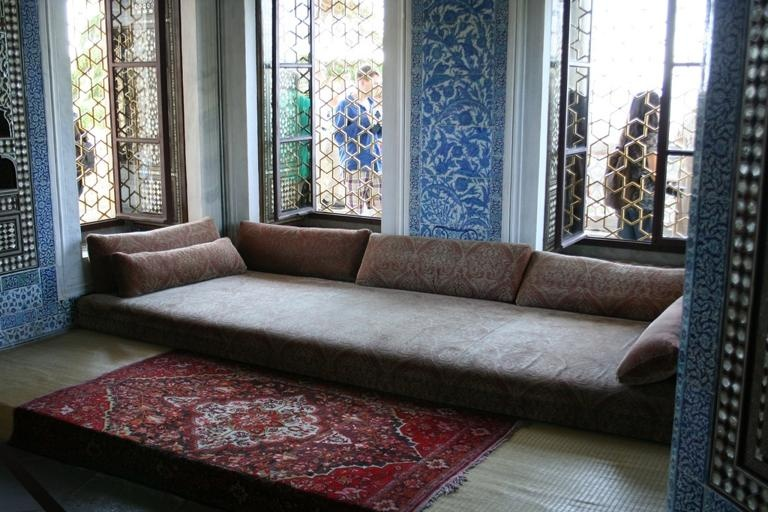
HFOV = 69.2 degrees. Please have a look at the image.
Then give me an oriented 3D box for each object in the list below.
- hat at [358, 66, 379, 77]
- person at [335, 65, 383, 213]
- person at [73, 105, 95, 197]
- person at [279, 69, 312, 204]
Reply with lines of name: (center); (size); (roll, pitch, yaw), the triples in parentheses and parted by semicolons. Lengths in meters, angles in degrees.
hat: (-0.187, -2.064, 6.196); (0.150, 0.134, 0.038); (2, 15, 9)
person: (-0.291, -1.316, 6.186); (0.510, 1.589, 0.475); (-1, 16, -5)
person: (-2.896, -0.995, 5.375); (0.168, 0.771, 0.346); (-7, 17, -23)
person: (-0.809, -1.070, 5.131); (0.131, 1.238, 0.413); (12, 20, 37)
